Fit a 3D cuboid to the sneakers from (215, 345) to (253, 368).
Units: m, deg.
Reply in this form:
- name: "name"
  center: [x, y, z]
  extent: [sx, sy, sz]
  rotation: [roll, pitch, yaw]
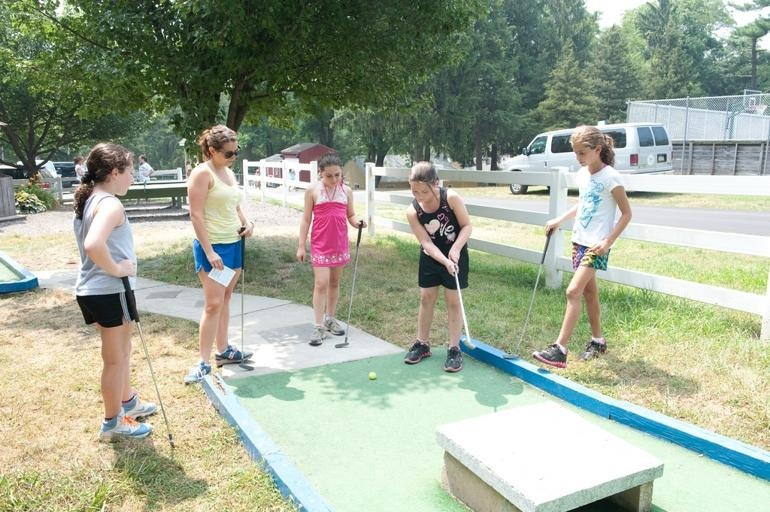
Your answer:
- name: "sneakers"
  center: [-1.689, 1.098, 6.618]
  extent: [0.465, 0.227, 0.176]
  rotation: [-2, 4, -19]

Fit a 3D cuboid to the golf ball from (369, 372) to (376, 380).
- name: "golf ball"
  center: [-0.132, 1.265, 6.296]
  extent: [0.062, 0.050, 0.062]
  rotation: [-2, 1, 0]

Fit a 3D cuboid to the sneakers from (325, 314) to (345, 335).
- name: "sneakers"
  center: [-0.630, 0.856, 7.426]
  extent: [0.306, 0.136, 0.147]
  rotation: [13, 14, 37]

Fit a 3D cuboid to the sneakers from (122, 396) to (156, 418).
- name: "sneakers"
  center: [-2.348, 1.451, 5.744]
  extent: [0.131, 0.170, 0.348]
  rotation: [19, 5, 41]

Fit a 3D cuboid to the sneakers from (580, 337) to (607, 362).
- name: "sneakers"
  center: [2.327, 1.034, 6.579]
  extent: [0.402, 0.192, 0.143]
  rotation: [-22, 12, -33]

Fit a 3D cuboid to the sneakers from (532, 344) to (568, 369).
- name: "sneakers"
  center: [1.807, 1.051, 6.413]
  extent: [0.429, 0.235, 0.184]
  rotation: [15, 9, -14]

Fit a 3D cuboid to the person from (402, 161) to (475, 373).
- name: "person"
  center: [0.564, 0.094, 6.475]
  extent: [0.713, 2.226, 0.622]
  rotation: [0, 12, 9]

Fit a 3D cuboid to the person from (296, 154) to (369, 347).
- name: "person"
  center: [-0.688, -0.127, 7.240]
  extent: [0.801, 2.186, 0.689]
  rotation: [-8, 14, -26]

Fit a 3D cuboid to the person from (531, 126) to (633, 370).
- name: "person"
  center: [2.181, -0.126, 6.480]
  extent: [0.865, 2.520, 1.098]
  rotation: [4, 13, 22]

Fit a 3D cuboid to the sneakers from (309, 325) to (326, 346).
- name: "sneakers"
  center: [-0.813, 0.936, 7.080]
  extent: [0.145, 0.199, 0.204]
  rotation: [2, 13, 14]

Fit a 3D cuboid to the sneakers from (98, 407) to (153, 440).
- name: "sneakers"
  center: [-2.372, 1.546, 5.565]
  extent: [0.535, 0.300, 0.196]
  rotation: [3, 5, -20]

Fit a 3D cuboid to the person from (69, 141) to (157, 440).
- name: "person"
  center: [-2.443, 0.346, 5.290]
  extent: [0.502, 2.643, 0.600]
  rotation: [-1, 12, 1]

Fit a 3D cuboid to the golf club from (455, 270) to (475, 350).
- name: "golf club"
  center: [0.932, 0.654, 6.956]
  extent: [0.129, 0.911, 0.124]
  rotation: [-12, 7, 7]

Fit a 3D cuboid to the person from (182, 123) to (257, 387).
- name: "person"
  center: [-1.750, -0.026, 6.178]
  extent: [0.534, 2.592, 0.806]
  rotation: [9, 16, 40]
